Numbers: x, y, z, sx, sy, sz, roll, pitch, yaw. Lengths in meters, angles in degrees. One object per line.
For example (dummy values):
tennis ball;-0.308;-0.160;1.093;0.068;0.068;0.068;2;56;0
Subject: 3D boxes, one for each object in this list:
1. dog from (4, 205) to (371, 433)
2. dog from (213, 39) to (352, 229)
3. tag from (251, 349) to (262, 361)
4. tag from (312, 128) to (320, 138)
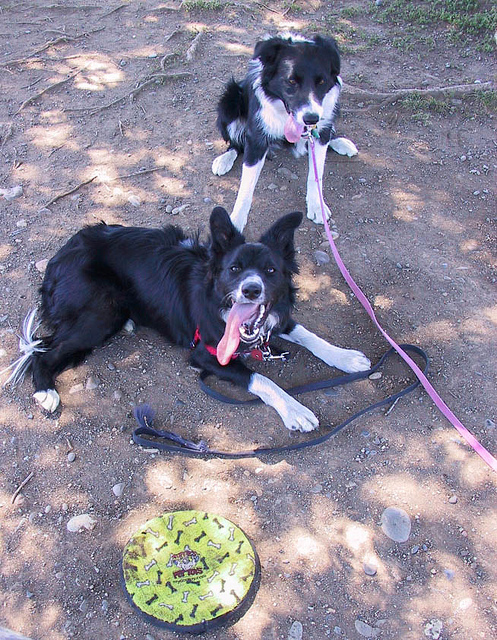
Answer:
dog;-0.698;-0.242;4.998;2.334;1.528;1.193;7;37;5
dog;0.311;-1.857;5.921;1.472;1.307;1.897;1;70;0
tag;0.063;0.283;5.159;0.068;0.083;0.077;-31;69;-24
tag;0.622;-1.739;5.847;0.075;0.071;0.043;7;45;39
